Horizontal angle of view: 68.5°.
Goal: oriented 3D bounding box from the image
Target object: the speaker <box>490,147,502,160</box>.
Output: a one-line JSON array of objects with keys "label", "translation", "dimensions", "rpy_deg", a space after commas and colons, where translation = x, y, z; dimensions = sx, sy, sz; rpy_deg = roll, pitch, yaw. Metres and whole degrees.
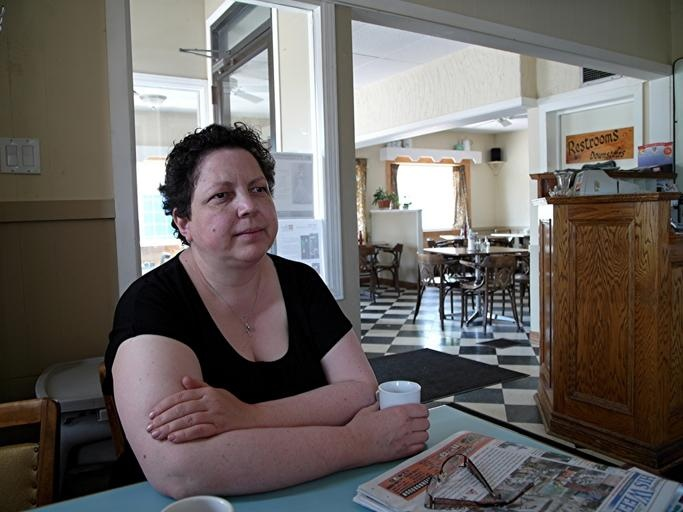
[{"label": "speaker", "translation": [4.032, -2.657, 13.119], "dimensions": [0.303, 0.389, 0.316], "rpy_deg": [-1, 5, 8]}]

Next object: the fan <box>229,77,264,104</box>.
[{"label": "fan", "translation": [-0.810, -1.450, 4.390], "dimensions": [0.421, 0.063, 0.419], "rpy_deg": [9, 7, -41]}]

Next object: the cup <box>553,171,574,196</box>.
[{"label": "cup", "translation": [1.403, -0.463, 3.166], "dimensions": [0.062, 0.160, 0.141], "rpy_deg": [-4, 5, -36]}]

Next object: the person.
[{"label": "person", "translation": [-0.299, 0.106, 1.510], "dimensions": [0.759, 1.027, 0.914], "rpy_deg": [-1, -8, -37]}]

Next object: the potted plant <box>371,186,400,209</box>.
[{"label": "potted plant", "translation": [0.936, -1.174, 10.528], "dimensions": [0.534, 0.416, 0.561], "rpy_deg": [2, 7, 9]}]

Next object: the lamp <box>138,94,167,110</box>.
[{"label": "lamp", "translation": [-1.902, -1.579, 5.099], "dimensions": [0.167, 0.076, 0.172], "rpy_deg": [5, 11, 37]}]

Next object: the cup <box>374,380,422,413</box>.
[{"label": "cup", "translation": [0.157, 0.393, 1.441], "dimensions": [0.100, 0.078, 0.080], "rpy_deg": [0, 3, 26]}]

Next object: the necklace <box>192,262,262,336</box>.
[{"label": "necklace", "translation": [-0.339, 0.130, 1.503], "dimensions": [0.046, 0.209, 0.205], "rpy_deg": [-14, -2, 38]}]
